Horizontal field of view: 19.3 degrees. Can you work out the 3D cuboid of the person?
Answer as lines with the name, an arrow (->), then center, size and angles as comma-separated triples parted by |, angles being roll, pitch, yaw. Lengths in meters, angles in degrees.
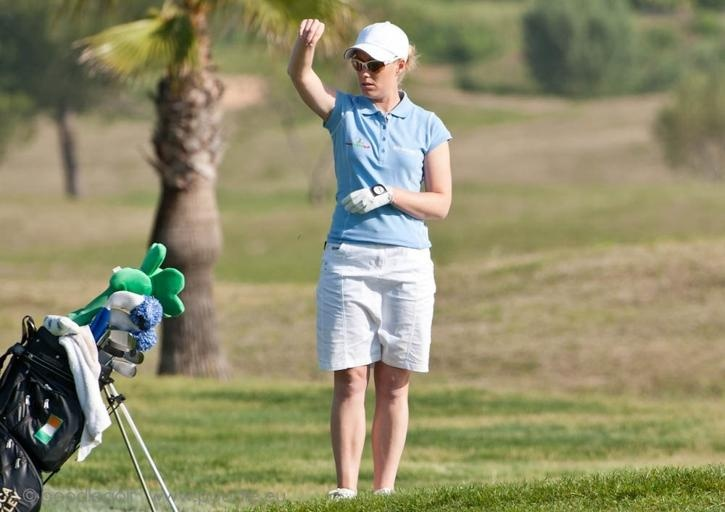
person -> 0.120, 0.019, 18.272 | 1.273, 4.041, 0.760 | -2, 9, -2

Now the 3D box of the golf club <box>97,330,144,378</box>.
golf club -> -1.973, 0.820, 17.965 | 0.287, 0.444, 0.335 | -3, -1, -38

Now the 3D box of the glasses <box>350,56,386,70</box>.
glasses -> 0.061, -1.622, 18.257 | 0.309, 0.133, 0.099 | 4, 10, 31

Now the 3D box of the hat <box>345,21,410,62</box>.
hat -> 0.150, -1.811, 18.290 | 0.557, 0.342, 0.243 | -1, 9, 1
